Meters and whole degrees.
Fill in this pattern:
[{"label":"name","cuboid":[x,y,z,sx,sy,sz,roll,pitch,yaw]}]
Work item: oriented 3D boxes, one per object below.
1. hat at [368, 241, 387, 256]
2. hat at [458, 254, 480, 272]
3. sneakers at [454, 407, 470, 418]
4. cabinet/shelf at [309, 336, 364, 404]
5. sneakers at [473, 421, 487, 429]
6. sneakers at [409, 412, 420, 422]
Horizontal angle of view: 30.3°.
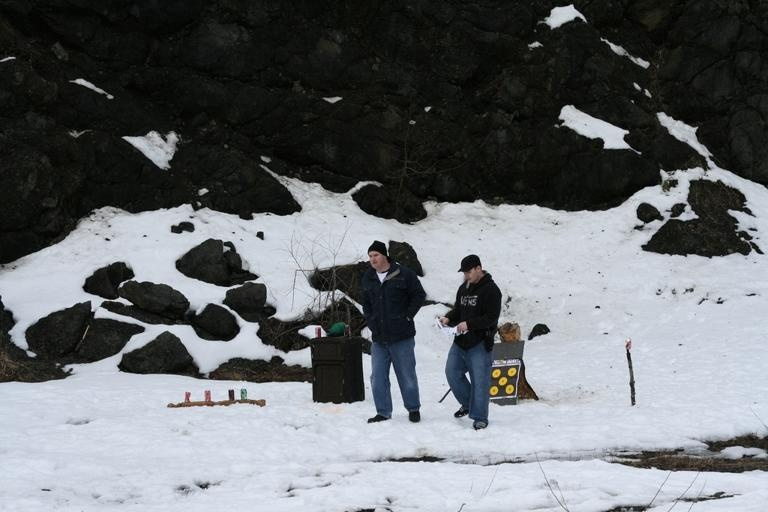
[{"label":"hat","cuboid":[-0.103,-0.195,37.309,0.361,0.451,0.282,2,70,15]},{"label":"hat","cuboid":[2.309,0.165,37.051,0.556,0.273,0.399,-16,12,-33]},{"label":"sneakers","cuboid":[2.067,4.150,37.411,0.447,0.168,0.176,-2,5,-20]},{"label":"cabinet/shelf","cuboid":[-1.259,3.065,38.141,1.421,1.541,1.402,-5,44,-1]},{"label":"sneakers","cuboid":[2.518,4.408,36.813,0.350,0.175,0.207,0,44,4]},{"label":"sneakers","cuboid":[0.821,4.236,37.159,0.188,0.302,0.282,0,69,0]}]
